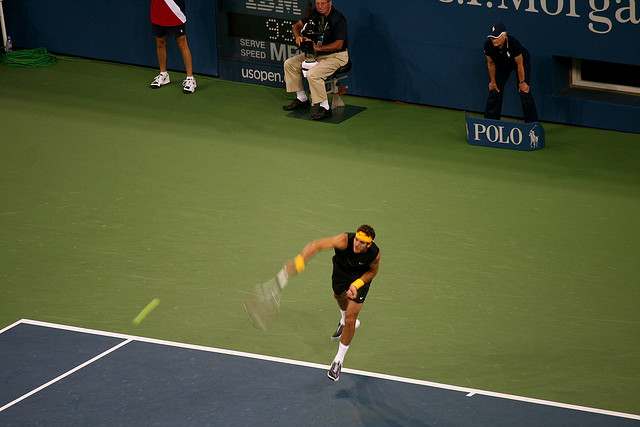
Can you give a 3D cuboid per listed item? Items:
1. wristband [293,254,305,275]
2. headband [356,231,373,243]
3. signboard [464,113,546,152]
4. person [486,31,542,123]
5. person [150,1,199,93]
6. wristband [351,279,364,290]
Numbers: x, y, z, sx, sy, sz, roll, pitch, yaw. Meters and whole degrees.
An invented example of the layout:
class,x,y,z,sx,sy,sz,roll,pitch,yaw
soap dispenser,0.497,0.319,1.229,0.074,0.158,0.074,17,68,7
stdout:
class,x,y,z,sx,sy,sz,roll,pitch,yaw
wristband,-0.228,0.652,9.062,0.077,0.221,0.170,6,-1,-18
headband,0.574,0.305,8.988,0.203,0.142,0.089,1,20,2
signboard,3.707,-1.665,14.070,1.611,0.579,0.478,11,34,36
person,3.706,-2.700,13.806,1.194,2.316,1.045,-1,40,21
person,-3.328,-3.759,15.784,1.017,1.985,0.413,6,21,15
wristband,0.497,0.938,9.223,0.125,0.116,0.179,8,20,21
